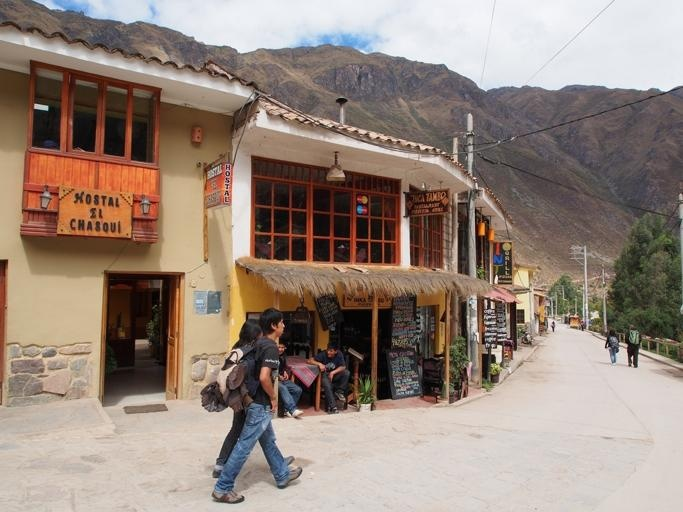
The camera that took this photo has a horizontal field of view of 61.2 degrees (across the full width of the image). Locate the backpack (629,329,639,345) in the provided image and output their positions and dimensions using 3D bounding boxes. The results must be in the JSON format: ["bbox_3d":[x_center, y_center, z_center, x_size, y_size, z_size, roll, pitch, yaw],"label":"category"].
[{"bbox_3d":[12.271,3.422,24.364,0.379,0.667,0.821,-6,-8,24],"label":"backpack"}]

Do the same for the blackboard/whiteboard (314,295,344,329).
[{"bbox_3d":[-0.361,1.375,14.062,0.104,0.702,0.884,-5,-6,29],"label":"blackboard/whiteboard"}]

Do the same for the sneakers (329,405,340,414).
[{"bbox_3d":[-0.185,3.442,12.830,0.108,0.139,0.299,3,-17,-11],"label":"sneakers"}]

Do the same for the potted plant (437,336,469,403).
[{"bbox_3d":[3.004,3.074,15.654,0.739,1.617,2.517,-5,-7,15],"label":"potted plant"}]

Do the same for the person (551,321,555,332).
[{"bbox_3d":[21.137,7.250,58.236,0.267,0.917,1.588,-5,-7,15],"label":"person"}]

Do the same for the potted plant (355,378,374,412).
[{"bbox_3d":[0.550,3.270,13.407,0.376,0.716,0.397,1,-8,-11],"label":"potted plant"}]

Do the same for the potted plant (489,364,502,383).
[{"bbox_3d":[5.128,3.963,19.508,0.517,0.634,0.599,0,-7,5],"label":"potted plant"}]

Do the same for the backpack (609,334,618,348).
[{"bbox_3d":[11.808,3.756,25.325,0.368,0.572,0.157,9,-22,-13],"label":"backpack"}]

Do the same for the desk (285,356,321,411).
[{"bbox_3d":[-0.790,2.837,12.902,0.985,1.395,0.924,2,-7,-8],"label":"desk"}]

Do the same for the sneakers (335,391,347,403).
[{"bbox_3d":[-0.015,3.211,13.111,0.109,0.136,0.313,14,21,-24],"label":"sneakers"}]

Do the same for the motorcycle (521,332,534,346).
[{"bbox_3d":[12.478,5.560,39.247,0.614,0.884,1.431,2,-1,26],"label":"motorcycle"}]

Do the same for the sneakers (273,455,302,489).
[{"bbox_3d":[-0.797,3.335,8.866,0.179,0.257,0.569,10,13,18],"label":"sneakers"}]

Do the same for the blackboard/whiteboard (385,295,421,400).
[{"bbox_3d":[1.575,2.459,15.211,0.164,3.929,1.874,-12,-21,35],"label":"blackboard/whiteboard"}]

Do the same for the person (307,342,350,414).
[{"bbox_3d":[-0.224,2.951,13.596,0.930,1.917,1.366,3,-20,-17],"label":"person"}]
